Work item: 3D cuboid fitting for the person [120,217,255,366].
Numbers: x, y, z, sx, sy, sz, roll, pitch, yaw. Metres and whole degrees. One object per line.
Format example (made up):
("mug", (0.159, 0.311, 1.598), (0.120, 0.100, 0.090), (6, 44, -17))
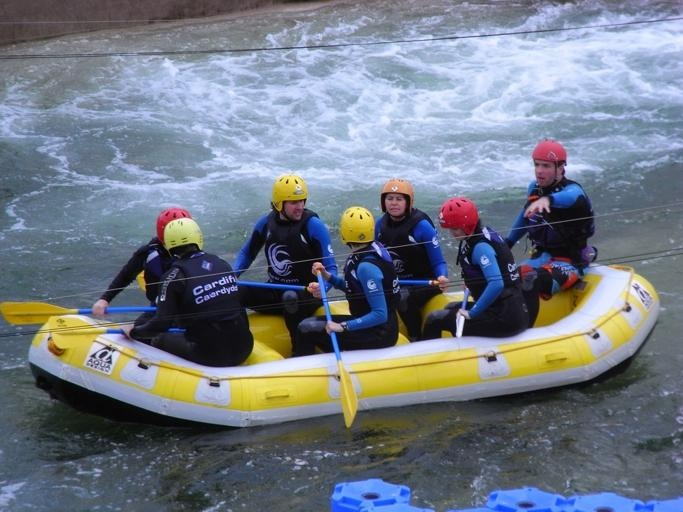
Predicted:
("person", (-1.541, 0.402, 8.165), (1.029, 1.544, 0.488), (-13, 22, -9))

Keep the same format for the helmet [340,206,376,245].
("helmet", (0.146, -0.295, 8.333), (0.450, 0.269, 0.428), (-1, 16, -7))

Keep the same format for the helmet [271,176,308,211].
("helmet", (-0.598, -0.680, 9.010), (0.403, 0.404, 0.240), (-8, 20, 0))

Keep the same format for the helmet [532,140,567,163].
("helmet", (2.274, -1.156, 9.152), (0.464, 0.239, 0.269), (-2, 12, 5))

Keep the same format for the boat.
("boat", (0.017, 1.112, 8.541), (5.693, 0.547, 2.135), (-3, 12, -7))

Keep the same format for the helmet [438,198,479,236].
("helmet", (1.192, -0.403, 8.457), (0.310, 0.376, 0.287), (-24, 24, -37))

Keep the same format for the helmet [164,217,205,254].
("helmet", (-1.585, -0.207, 8.159), (0.362, 0.328, 0.227), (-10, 20, -9))
